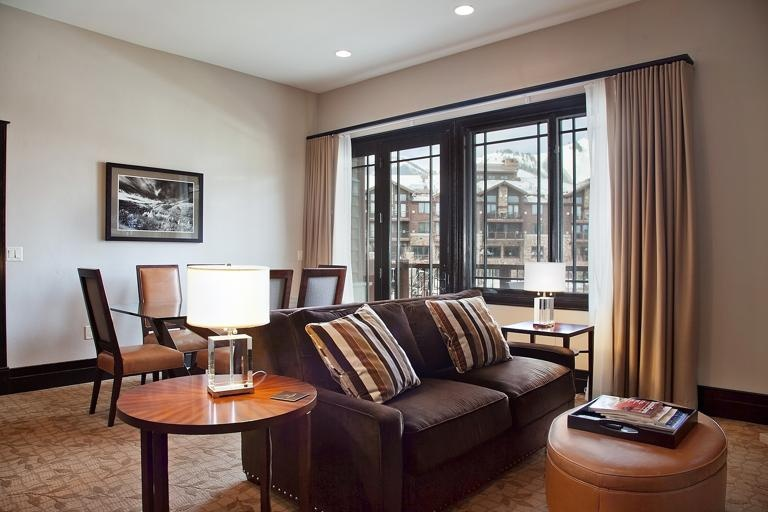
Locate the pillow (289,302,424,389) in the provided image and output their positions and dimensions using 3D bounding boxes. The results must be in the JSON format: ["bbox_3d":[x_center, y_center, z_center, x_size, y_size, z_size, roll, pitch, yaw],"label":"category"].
[{"bbox_3d":[-0.178,0.627,3.487,0.664,0.640,0.199,1,-31,-48],"label":"pillow"}]

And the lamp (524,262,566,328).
[{"bbox_3d":[1.530,0.376,5.041,0.390,0.648,0.395,-1,-4,35],"label":"lamp"}]

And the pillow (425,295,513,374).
[{"bbox_3d":[0.659,0.594,4.178,0.633,0.568,0.188,-10,-23,-46],"label":"pillow"}]

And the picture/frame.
[{"bbox_3d":[-2.704,-0.617,6.038,0.963,0.828,0.043,-2,2,-37],"label":"picture/frame"}]

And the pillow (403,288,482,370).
[{"bbox_3d":[0.416,0.582,4.033,0.512,0.504,0.148,-5,-11,-36],"label":"pillow"}]

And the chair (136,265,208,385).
[{"bbox_3d":[-2.311,0.800,5.433,0.598,1.263,0.709,-1,23,-5],"label":"chair"}]

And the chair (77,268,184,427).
[{"bbox_3d":[-2.305,0.782,4.839,0.844,1.249,0.758,1,-1,-34],"label":"chair"}]

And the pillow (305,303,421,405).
[{"bbox_3d":[-0.150,0.668,3.477,0.190,0.594,0.623,-39,-16,31],"label":"pillow"}]
